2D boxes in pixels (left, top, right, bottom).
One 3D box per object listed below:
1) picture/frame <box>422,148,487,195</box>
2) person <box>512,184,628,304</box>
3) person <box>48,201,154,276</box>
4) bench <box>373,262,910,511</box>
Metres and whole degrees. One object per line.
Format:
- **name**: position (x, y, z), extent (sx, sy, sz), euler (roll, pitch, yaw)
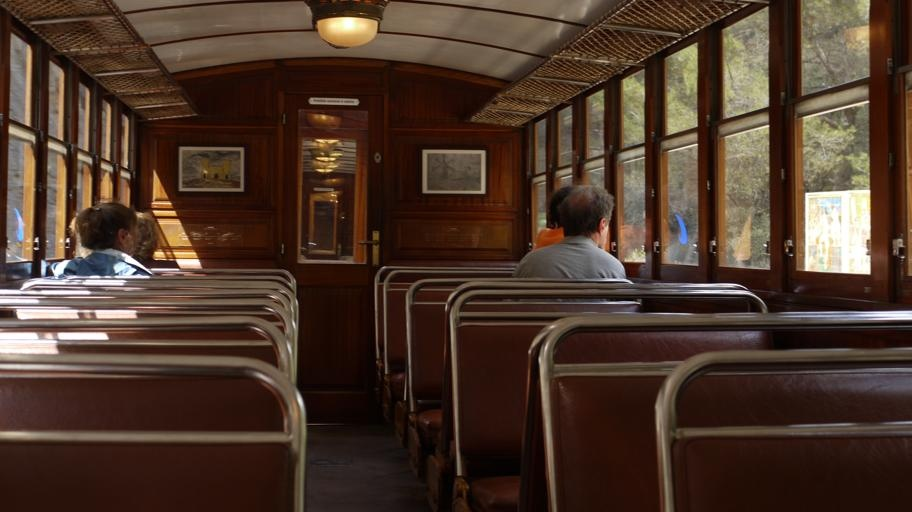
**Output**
- **picture/frame**: position (-0.036, -1.078, 9.162), extent (0.670, 0.414, 0.016), euler (0, -2, -11)
- **person**: position (0.834, -0.119, 4.897), extent (0.809, 0.627, 0.469), euler (6, 6, 32)
- **person**: position (-2.324, -0.064, 5.037), extent (0.777, 0.549, 0.438), euler (16, 13, 37)
- **bench**: position (0.451, 0.707, 4.937), extent (1.819, 1.274, 4.868), euler (0, -1, -9)
